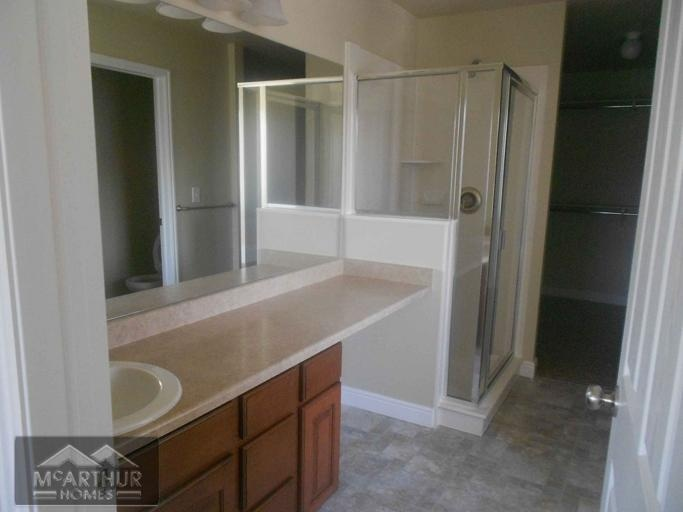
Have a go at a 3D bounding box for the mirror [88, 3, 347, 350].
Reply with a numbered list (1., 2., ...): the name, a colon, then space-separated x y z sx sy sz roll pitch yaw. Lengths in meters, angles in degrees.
1. mirror: -0.507 -0.426 2.175 0.042 1.000 1.116 6 11 29
